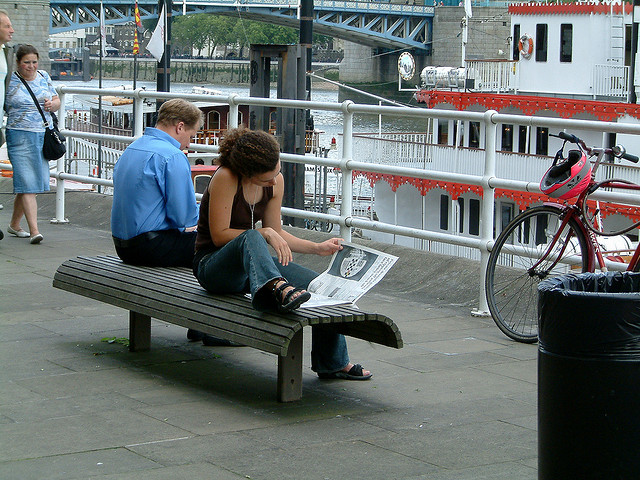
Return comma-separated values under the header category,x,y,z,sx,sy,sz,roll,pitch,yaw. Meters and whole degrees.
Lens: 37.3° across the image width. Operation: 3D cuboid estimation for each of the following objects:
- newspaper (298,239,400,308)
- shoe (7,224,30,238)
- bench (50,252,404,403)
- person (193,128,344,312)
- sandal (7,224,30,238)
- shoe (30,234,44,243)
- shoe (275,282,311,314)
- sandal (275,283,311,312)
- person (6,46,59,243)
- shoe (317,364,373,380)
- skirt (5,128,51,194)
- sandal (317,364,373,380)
category,x,y,z,sx,sy,sz,roll,pitch,yaw
newspaper,0.155,0.177,5.223,0.477,0.292,0.473,0,11,-7
shoe,-3.027,-0.100,9.494,0.291,0.110,0.106,11,12,21
bench,-0.611,0.469,5.516,2.228,0.603,0.669,11,15,41
person,-0.263,-0.125,5.552,1.064,1.020,0.803,9,7,39
sandal,-3.030,-0.083,9.491,0.291,0.110,0.104,12,13,20
shoe,-2.723,-0.021,9.050,0.118,0.095,0.179,-2,12,-17
shoe,-0.158,0.290,4.885,0.243,0.108,0.093,-32,-9,39
sandal,-0.143,0.294,4.880,0.178,0.160,0.186,1,11,-4
person,-2.788,-0.921,9.157,0.498,1.845,0.729,-2,12,-15
shoe,0.139,0.735,5.478,0.293,0.084,0.112,-2,2,3
skirt,-2.838,-0.776,9.241,0.316,0.648,0.371,-13,20,-39
sandal,0.146,0.738,5.482,0.292,0.084,0.112,-1,1,4
